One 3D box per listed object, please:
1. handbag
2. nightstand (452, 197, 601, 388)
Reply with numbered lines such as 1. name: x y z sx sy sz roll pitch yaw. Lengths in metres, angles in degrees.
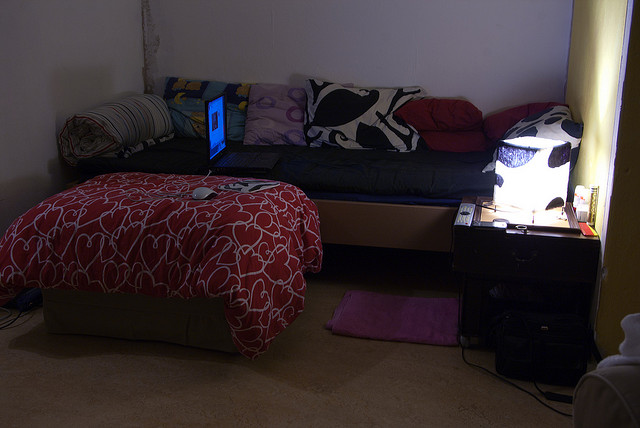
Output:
1. handbag: 1.105 0.601 2.345 0.546 0.411 0.323 1 1 15
2. nightstand: 1.028 0.363 2.561 0.782 1.094 0.766 4 10 23
